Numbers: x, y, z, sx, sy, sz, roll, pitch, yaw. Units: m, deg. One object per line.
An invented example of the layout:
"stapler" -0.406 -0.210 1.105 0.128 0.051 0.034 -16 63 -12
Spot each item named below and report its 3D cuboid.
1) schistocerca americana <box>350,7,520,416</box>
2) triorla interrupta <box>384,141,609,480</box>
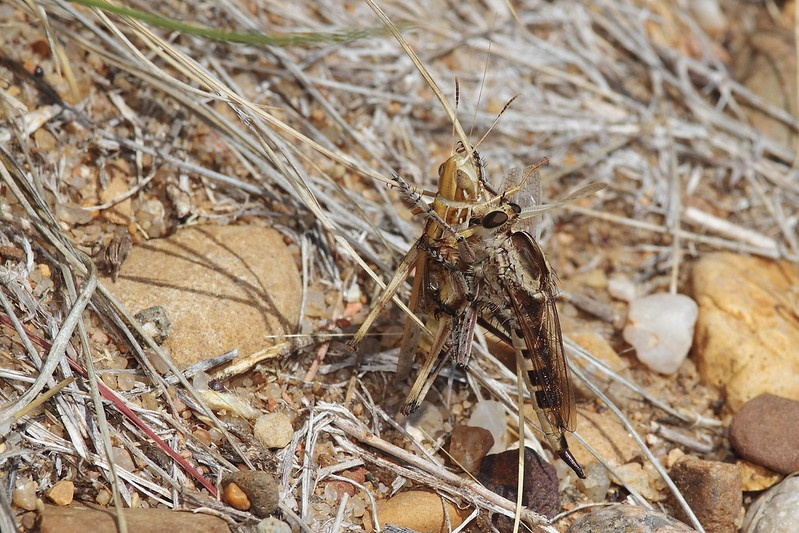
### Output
"schistocerca americana" 0.105 -0.061 2.655 0.423 1.490 0.511 4 11 8
"triorla interrupta" 0.323 0.052 2.690 0.503 1.240 0.630 1 7 6
